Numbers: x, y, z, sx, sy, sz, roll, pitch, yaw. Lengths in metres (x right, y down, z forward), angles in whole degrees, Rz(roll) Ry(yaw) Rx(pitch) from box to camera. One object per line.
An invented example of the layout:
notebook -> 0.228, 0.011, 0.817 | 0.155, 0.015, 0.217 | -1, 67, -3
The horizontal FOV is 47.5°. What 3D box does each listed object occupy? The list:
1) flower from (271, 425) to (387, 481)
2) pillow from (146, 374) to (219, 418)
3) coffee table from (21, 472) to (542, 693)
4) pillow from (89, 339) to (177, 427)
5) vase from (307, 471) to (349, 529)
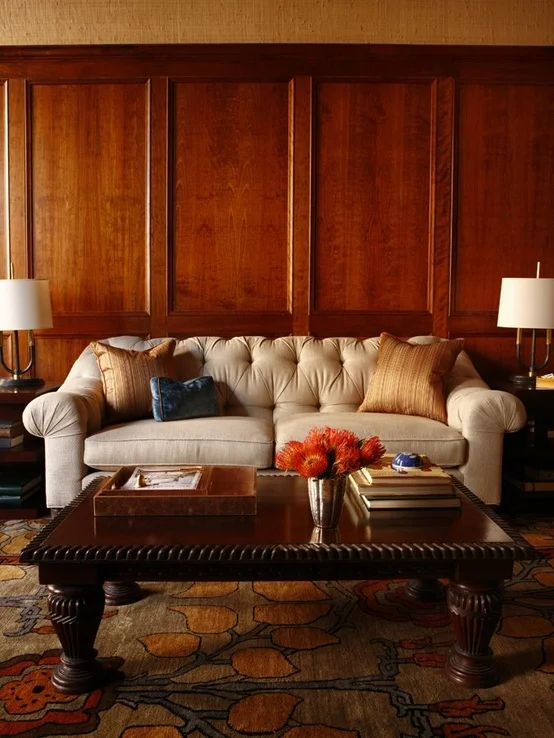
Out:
flower -> 0.139, 0.202, 1.542 | 0.207, 0.107, 0.203 | -19, 12, -26
pillow -> -0.416, 0.132, 2.880 | 0.339, 0.197, 0.109 | -1, -1, -42
coffee table -> 0.009, 0.522, 1.593 | 1.156, 0.412, 0.492 | 0, 2, -3
pillow -> -0.655, 0.053, 3.013 | 0.428, 0.378, 0.155 | -8, 7, -42
vase -> 0.120, 0.328, 1.562 | 0.111, 0.113, 0.106 | 6, -10, -26
